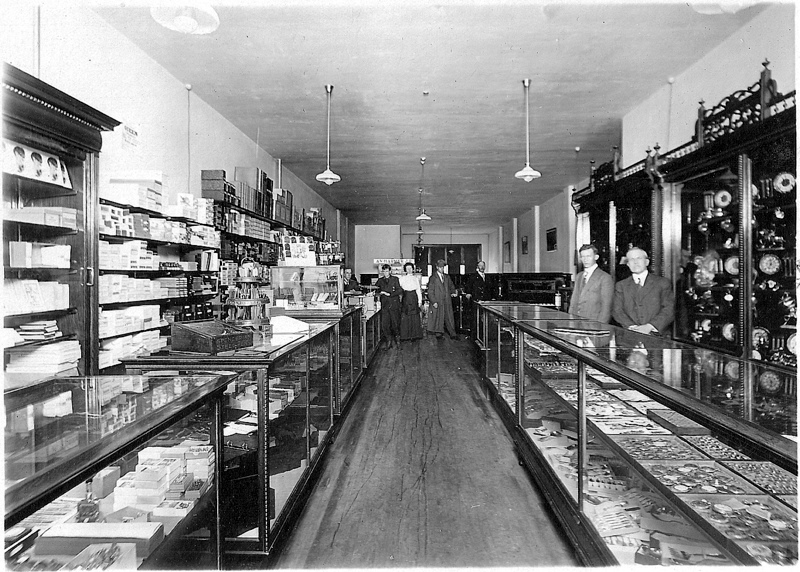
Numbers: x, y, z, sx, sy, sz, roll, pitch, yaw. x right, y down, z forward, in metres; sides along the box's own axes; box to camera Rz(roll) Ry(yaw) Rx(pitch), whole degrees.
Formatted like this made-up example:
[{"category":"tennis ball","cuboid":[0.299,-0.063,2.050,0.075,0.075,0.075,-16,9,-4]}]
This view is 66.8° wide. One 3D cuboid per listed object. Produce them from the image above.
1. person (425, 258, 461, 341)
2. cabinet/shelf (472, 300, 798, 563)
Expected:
[{"category":"person","cuboid":[0.762,0.247,11.319,0.490,1.424,0.444,-4,12,-18]},{"category":"cabinet/shelf","cuboid":[1.385,0.967,3.805,0.767,1.246,2.326,-4,12,-18]}]
